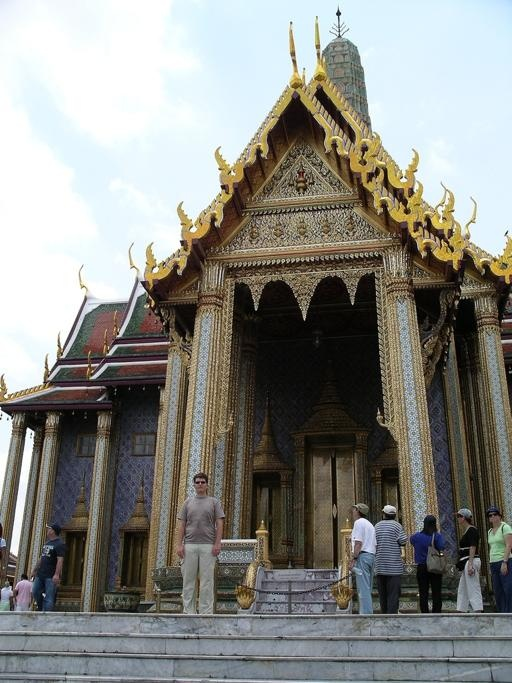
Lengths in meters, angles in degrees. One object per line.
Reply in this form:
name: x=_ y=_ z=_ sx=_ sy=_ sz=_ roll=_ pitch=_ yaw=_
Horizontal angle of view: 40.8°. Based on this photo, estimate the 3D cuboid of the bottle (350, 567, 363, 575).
bottle: x=0.718 y=1.639 z=4.927 sx=0.052 sy=0.057 sz=0.208 roll=17 pitch=-9 yaw=1

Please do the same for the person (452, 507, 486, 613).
person: x=1.641 y=1.681 z=5.354 sx=0.203 sy=0.789 sz=0.517 roll=-4 pitch=-23 yaw=15

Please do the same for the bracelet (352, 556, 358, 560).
bracelet: x=0.713 y=1.564 z=4.967 sx=0.038 sy=0.039 sz=0.108 roll=-2 pitch=-21 yaw=11

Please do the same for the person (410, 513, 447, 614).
person: x=1.294 y=1.662 z=5.187 sx=0.235 sy=0.710 sz=0.576 roll=-3 pitch=-22 yaw=12

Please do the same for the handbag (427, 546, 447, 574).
handbag: x=1.319 y=1.609 z=5.078 sx=0.130 sy=0.197 sz=0.111 roll=-3 pitch=-23 yaw=13

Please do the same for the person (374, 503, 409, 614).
person: x=0.996 y=1.598 z=5.124 sx=0.232 sy=0.793 sz=0.581 roll=-2 pitch=-22 yaw=11

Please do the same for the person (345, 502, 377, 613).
person: x=0.780 y=1.550 z=4.990 sx=0.186 sy=0.784 sz=0.464 roll=-2 pitch=-22 yaw=9

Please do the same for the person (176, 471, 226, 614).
person: x=-0.410 y=1.433 z=4.902 sx=0.313 sy=0.939 sz=0.484 roll=4 pitch=-22 yaw=-5
